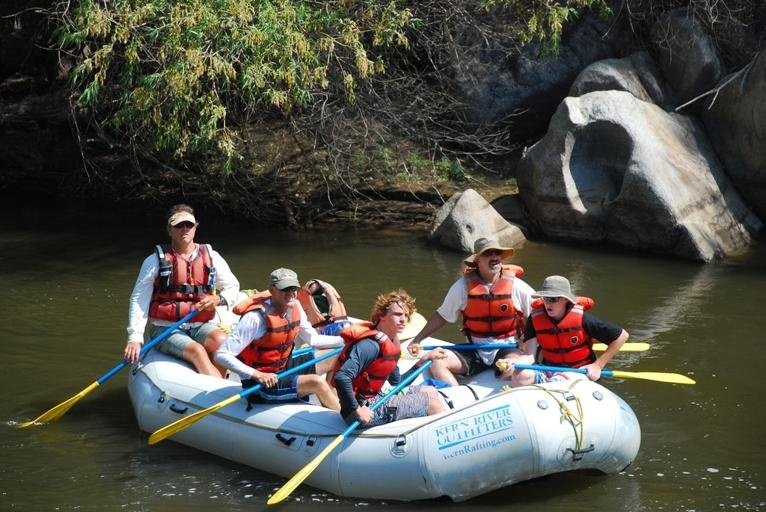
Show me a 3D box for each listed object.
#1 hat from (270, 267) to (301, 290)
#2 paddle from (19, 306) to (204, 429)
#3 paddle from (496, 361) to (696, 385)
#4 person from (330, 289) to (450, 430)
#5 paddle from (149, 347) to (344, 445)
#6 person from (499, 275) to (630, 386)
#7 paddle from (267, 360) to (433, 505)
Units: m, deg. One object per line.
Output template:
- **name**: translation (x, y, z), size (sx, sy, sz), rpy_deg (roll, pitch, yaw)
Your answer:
- **hat**: translation (-1.079, 0.247, 9.079), size (0.217, 0.172, 0.289), rpy_deg (3, -6, -28)
- **paddle**: translation (-3.338, 1.444, 10.376), size (2.040, 0.145, 0.281), rpy_deg (-38, 45, 9)
- **paddle**: translation (2.461, 1.388, 9.803), size (2.325, 0.100, 0.278), rpy_deg (4, 6, -1)
- **person**: translation (0.021, 0.925, 9.522), size (1.563, 1.879, 1.062), rpy_deg (-5, 22, -11)
- **paddle**: translation (-1.525, 1.603, 9.323), size (2.219, 0.124, 0.238), rpy_deg (-25, 44, -9)
- **person**: translation (2.145, 0.943, 9.925), size (0.906, 1.084, 0.837), rpy_deg (-25, 34, -37)
- **paddle**: translation (-0.362, 1.948, 8.929), size (2.098, 0.119, 0.216), rpy_deg (-40, 38, -6)
